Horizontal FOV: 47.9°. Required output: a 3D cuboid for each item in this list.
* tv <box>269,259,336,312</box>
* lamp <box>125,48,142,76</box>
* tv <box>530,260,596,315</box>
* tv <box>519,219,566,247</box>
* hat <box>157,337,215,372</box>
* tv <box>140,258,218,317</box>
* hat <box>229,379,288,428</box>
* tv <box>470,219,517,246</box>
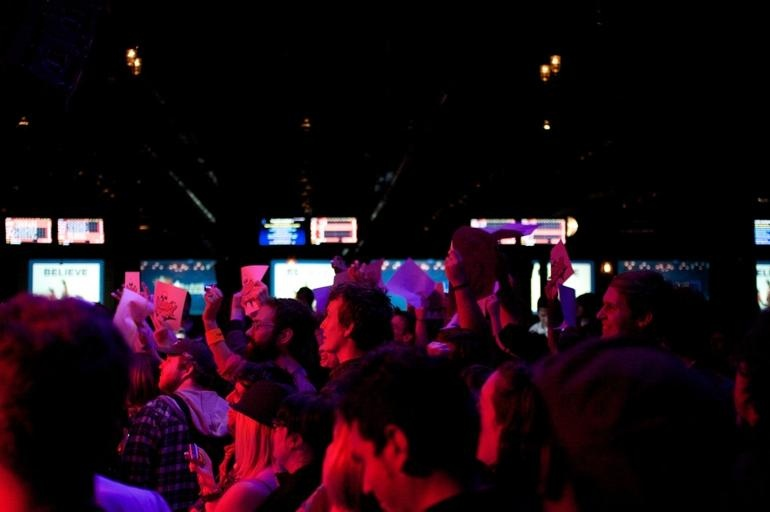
[{"bbox_3d":[-1.388,0.477,14.561,0.975,0.571,0.096,0,-6,1],"label":"tv"},{"bbox_3d":[-4.967,-3.854,17.196,0.241,0.159,0.391,2,-31,-3],"label":"lamp"},{"bbox_3d":[2.815,0.525,14.007,1.165,1.118,0.082,3,-18,-9],"label":"tv"},{"bbox_3d":[3.305,-0.388,17.916,1.086,0.353,0.829,-1,-23,-1],"label":"tv"},{"bbox_3d":[-2.282,1.170,10.101,0.513,0.268,0.353,11,-10,-1],"label":"hat"},{"bbox_3d":[-3.390,0.519,14.412,1.216,0.838,0.041,-1,-3,3],"label":"tv"},{"bbox_3d":[-1.302,1.456,8.823,0.535,0.210,0.389,23,9,32],"label":"hat"},{"bbox_3d":[1.530,-0.333,12.076,0.587,0.136,0.550,0,-9,3],"label":"tv"}]
